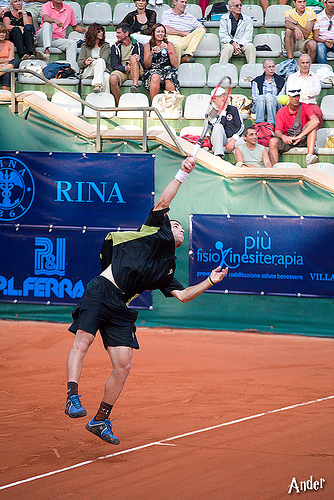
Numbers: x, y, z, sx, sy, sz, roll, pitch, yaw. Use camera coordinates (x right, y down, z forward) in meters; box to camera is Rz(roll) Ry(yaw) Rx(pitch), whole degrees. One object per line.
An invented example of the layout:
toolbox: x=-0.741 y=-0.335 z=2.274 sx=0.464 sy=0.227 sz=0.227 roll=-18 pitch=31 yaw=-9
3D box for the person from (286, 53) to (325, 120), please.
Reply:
person: x=2.420 y=-2.822 z=10.301 sx=0.666 sy=1.212 sz=0.736 roll=-2 pitch=18 yaw=-5

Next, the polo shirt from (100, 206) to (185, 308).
polo shirt: x=-0.203 y=0.043 z=4.181 sx=0.537 sy=0.684 sz=0.366 roll=0 pitch=3 yaw=-7

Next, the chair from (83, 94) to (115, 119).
chair: x=-1.206 y=-2.537 z=10.212 sx=0.554 sy=0.541 sz=0.688 roll=0 pitch=2 yaw=-6

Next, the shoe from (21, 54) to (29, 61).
shoe: x=-2.850 y=-3.852 z=11.636 sx=0.135 sy=0.112 sz=0.132 roll=0 pitch=2 yaw=-10

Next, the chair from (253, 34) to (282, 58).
chair: x=2.127 y=-4.292 z=12.119 sx=0.705 sy=0.530 sz=0.640 roll=3 pitch=8 yaw=4

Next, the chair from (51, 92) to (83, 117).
chair: x=-1.770 y=-2.535 z=10.120 sx=0.585 sy=0.472 sz=0.383 roll=0 pitch=3 yaw=7

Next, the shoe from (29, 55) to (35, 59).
shoe: x=-2.719 y=-3.881 z=11.655 sx=0.078 sy=0.063 sz=0.074 roll=2 pitch=7 yaw=-10

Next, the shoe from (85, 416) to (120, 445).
shoe: x=-0.445 y=1.237 z=3.941 sx=0.214 sy=0.202 sz=0.186 roll=0 pitch=3 yaw=-14

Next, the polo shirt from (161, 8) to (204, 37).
polo shirt: x=0.302 y=-4.723 z=12.069 sx=0.849 sy=0.708 sz=0.536 roll=0 pitch=3 yaw=-4

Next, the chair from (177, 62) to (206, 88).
chair: x=0.472 y=-3.429 z=11.410 sx=0.675 sy=0.554 sz=0.519 roll=1 pitch=4 yaw=2

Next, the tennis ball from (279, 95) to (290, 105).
tennis ball: x=2.020 y=-2.589 z=9.946 sx=0.255 sy=0.169 sz=0.186 roll=5 pitch=0 yaw=7

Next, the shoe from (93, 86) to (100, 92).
shoe: x=-1.279 y=-2.915 z=10.529 sx=0.114 sy=0.097 sz=0.062 roll=4 pitch=-18 yaw=7

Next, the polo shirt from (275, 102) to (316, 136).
polo shirt: x=2.021 y=-2.156 z=9.418 sx=0.615 sy=0.341 sz=0.524 roll=-13 pitch=-37 yaw=-2

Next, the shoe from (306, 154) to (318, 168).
shoe: x=2.245 y=-1.373 z=8.981 sx=0.169 sy=0.207 sz=0.246 roll=1 pitch=3 yaw=14

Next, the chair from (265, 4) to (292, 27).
chair: x=2.508 y=-5.268 z=13.093 sx=0.778 sy=0.474 sz=0.548 roll=0 pitch=2 yaw=2

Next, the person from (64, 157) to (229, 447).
person: x=-0.091 y=0.324 z=4.085 sx=1.163 sy=2.074 sz=0.892 roll=11 pitch=-39 yaw=2

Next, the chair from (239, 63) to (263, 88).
chair: x=1.613 y=-3.382 z=11.180 sx=0.556 sy=0.423 sz=0.520 roll=1 pitch=9 yaw=1

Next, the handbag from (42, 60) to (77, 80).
handbag: x=-2.027 y=-3.357 z=10.899 sx=0.648 sy=0.196 sz=0.505 roll=1 pitch=8 yaw=-1

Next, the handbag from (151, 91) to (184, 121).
handbag: x=0.000 y=-2.567 z=10.388 sx=0.625 sy=0.572 sz=0.396 roll=1 pitch=3 yaw=20

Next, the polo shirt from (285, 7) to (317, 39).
polo shirt: x=2.843 y=-4.763 z=12.190 sx=0.647 sy=0.739 sz=0.287 roll=4 pitch=-15 yaw=9

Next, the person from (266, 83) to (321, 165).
person: x=2.036 y=-1.981 z=9.320 sx=0.922 sy=1.203 sz=0.775 roll=-5 pitch=27 yaw=13

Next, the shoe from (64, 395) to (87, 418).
shoe: x=-0.598 y=1.014 z=3.766 sx=0.089 sy=0.091 sz=0.216 roll=1 pitch=-7 yaw=-22
